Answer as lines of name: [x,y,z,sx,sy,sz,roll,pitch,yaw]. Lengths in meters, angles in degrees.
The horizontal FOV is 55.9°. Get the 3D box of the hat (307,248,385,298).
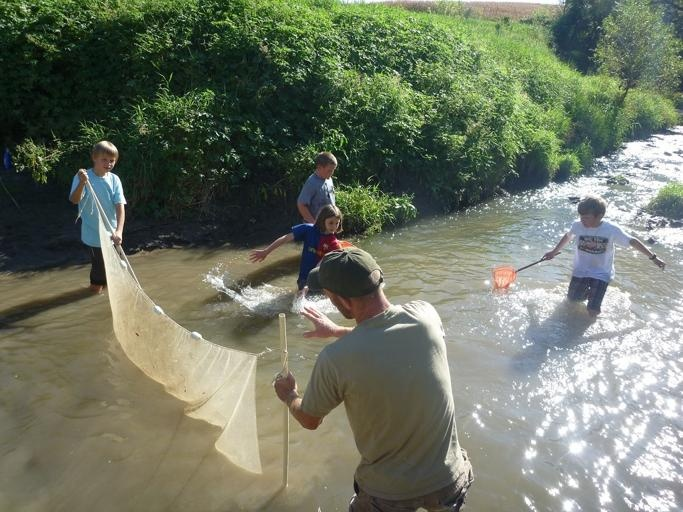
hat: [0.020,0.172,7.139,0.650,0.423,0.480,16,41,25]

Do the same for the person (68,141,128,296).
person: [-4.097,-0.607,10.952,0.818,2.695,1.482,-7,22,-21]
